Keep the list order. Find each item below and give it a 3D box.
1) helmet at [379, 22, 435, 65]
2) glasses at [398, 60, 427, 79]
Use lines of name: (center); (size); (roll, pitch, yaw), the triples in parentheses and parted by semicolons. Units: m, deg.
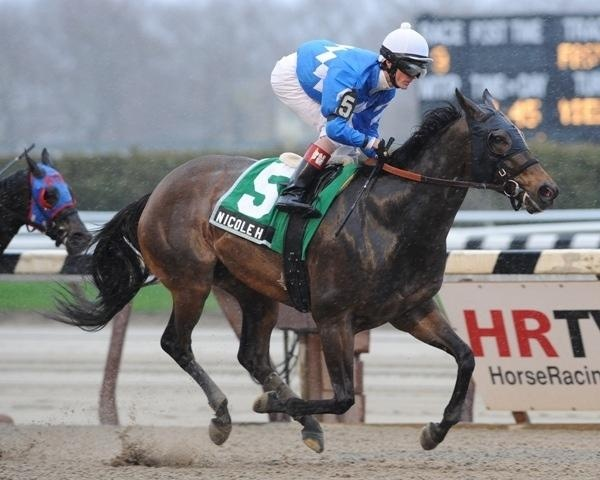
helmet: (0.694, -1.281, 9.017); (0.333, 0.203, 0.237); (8, 11, 28)
glasses: (0.733, -1.120, 9.020); (0.133, 0.070, 0.124); (15, 13, -42)
